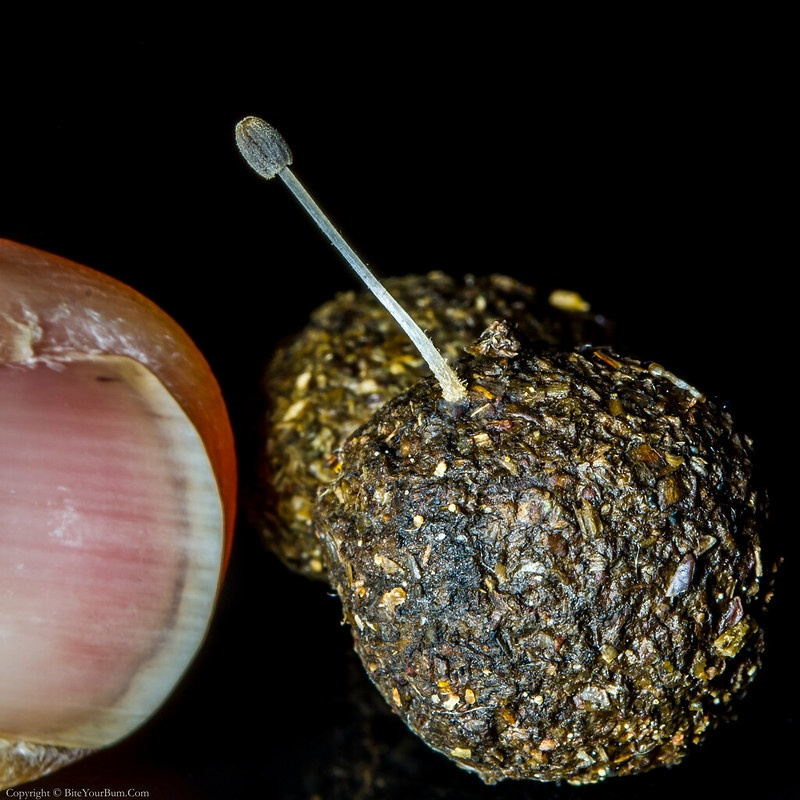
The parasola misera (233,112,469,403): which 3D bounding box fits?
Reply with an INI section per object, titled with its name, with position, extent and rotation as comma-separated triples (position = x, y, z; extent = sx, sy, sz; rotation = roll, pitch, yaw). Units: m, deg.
[parasola misera]
position = -0.047, -0.213, 2.075
extent = 0.104, 0.108, 0.728
rotation = -45, 106, -17
